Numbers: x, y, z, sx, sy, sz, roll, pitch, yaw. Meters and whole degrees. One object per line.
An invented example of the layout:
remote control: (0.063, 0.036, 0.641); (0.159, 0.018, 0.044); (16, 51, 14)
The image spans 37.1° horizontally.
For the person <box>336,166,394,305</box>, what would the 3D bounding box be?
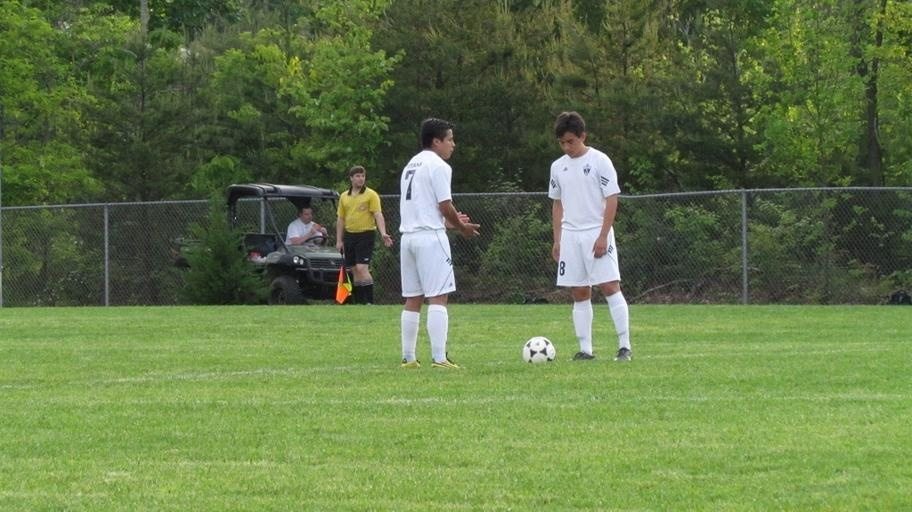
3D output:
person: (-2.752, -0.611, 40.752); (1.347, 4.065, 1.061); (-3, -2, 14)

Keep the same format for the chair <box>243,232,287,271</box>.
chair: (-6.055, -0.191, 43.134); (1.163, 1.171, 1.456); (-2, -2, -11)

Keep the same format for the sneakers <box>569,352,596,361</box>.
sneakers: (3.171, 2.506, 34.073); (0.564, 0.213, 0.198); (3, -4, -1)

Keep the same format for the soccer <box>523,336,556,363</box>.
soccer: (2.058, 2.356, 34.188); (0.708, 0.647, 0.662); (14, 30, -20)

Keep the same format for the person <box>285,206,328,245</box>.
person: (-4.717, -0.955, 42.918); (1.188, 1.283, 1.308); (-2, 0, -44)
